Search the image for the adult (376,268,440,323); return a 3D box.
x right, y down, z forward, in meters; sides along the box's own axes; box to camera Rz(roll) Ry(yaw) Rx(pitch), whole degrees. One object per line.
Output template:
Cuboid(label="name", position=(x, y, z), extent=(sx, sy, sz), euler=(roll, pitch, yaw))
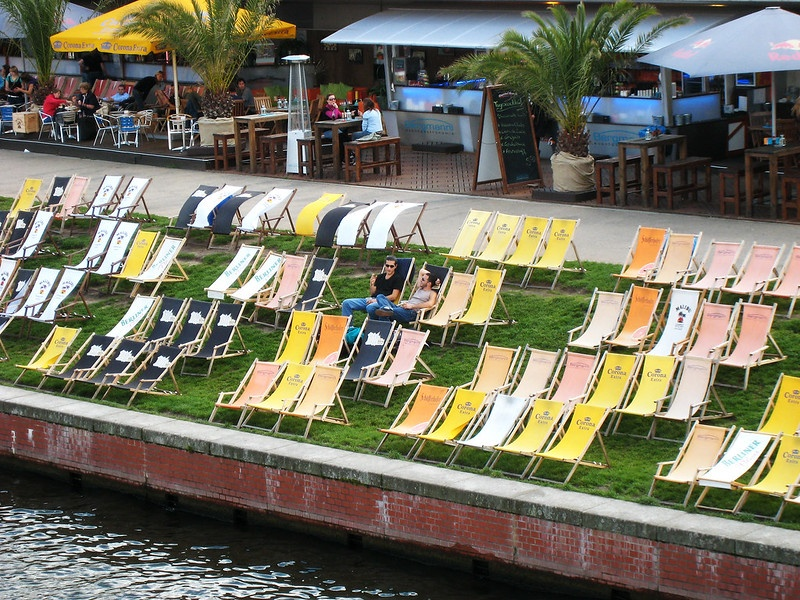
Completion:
Cuboid(label="adult", position=(0.109, -0.058, 12.176), extent=(1.067, 0.571, 0.504), euler=(-14, 27, -43))

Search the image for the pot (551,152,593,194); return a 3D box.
Cuboid(label="pot", position=(3.288, -2.560, 17.629), extent=(0.731, 0.564, 0.655), euler=(-20, 46, -34))

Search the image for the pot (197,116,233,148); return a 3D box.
Cuboid(label="pot", position=(-4.596, -4.243, 22.854), extent=(0.983, 0.565, 0.856), euler=(-2, 15, -1))

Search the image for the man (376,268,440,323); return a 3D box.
Cuboid(label="man", position=(0.117, -0.076, 12.173), extent=(1.067, 0.571, 0.504), euler=(-14, 27, -43))
